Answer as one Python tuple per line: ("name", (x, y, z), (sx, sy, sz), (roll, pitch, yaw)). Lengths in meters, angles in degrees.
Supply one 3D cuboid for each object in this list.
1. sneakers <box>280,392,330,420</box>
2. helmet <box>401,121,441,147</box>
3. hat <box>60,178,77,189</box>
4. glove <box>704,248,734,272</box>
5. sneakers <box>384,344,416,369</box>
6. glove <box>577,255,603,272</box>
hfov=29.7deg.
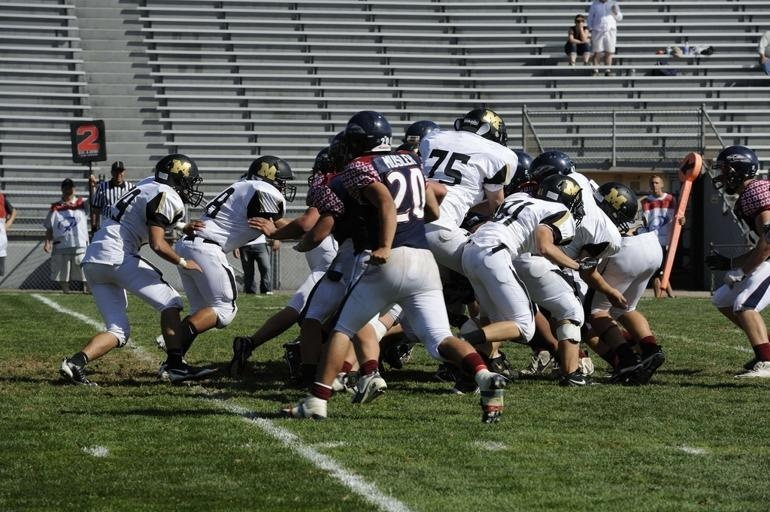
("sneakers", (-1.150, 2.049, 19.634), (0.716, 0.279, 0.254), (1, -10, 22))
("helmet", (0.563, -1.789, 22.357), (0.436, 0.494, 0.490), (0, -42, -4))
("hat", (-5.887, -1.349, 26.931), (0.306, 0.250, 0.472), (2, -10, -18))
("glove", (5.418, 0.070, 23.490), (0.465, 0.294, 0.145), (4, -23, 32))
("sneakers", (0.227, 1.467, 21.330), (0.218, 0.247, 0.593), (2, 5, 26))
("glove", (2.914, 0.116, 20.401), (0.422, 0.131, 0.159), (-1, 5, 12))
